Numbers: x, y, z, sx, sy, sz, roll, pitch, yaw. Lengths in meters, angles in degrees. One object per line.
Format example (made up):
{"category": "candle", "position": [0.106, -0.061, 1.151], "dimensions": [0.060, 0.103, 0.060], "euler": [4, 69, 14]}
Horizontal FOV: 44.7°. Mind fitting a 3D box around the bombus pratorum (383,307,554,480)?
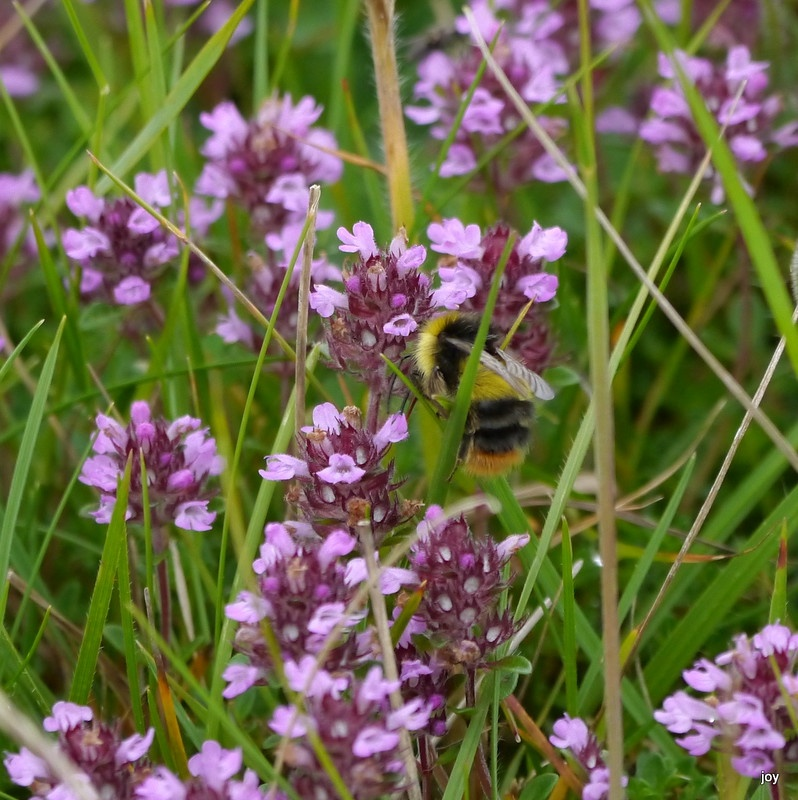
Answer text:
{"category": "bombus pratorum", "position": [0.187, -0.032, 2.450], "dimensions": [0.293, 0.155, 0.424], "euler": [-16, 52, -32]}
